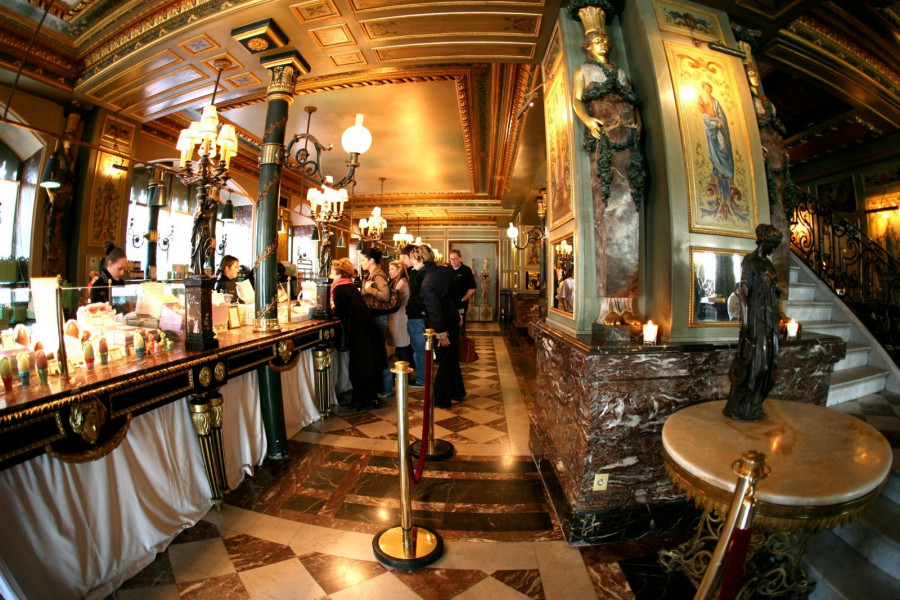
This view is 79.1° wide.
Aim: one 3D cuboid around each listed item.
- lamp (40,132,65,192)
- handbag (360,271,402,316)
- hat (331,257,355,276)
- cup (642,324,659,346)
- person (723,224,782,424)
[{"bbox_3d":[-4.505,-1.710,6.298,0.198,0.812,0.196,7,-4,-34],"label":"lamp"},{"bbox_3d":[-0.906,-0.065,7.272,0.549,0.532,0.305,-10,-8,44],"label":"handbag"},{"bbox_3d":[-1.410,-0.428,7.164,0.205,0.235,0.256,-8,3,25],"label":"hat"},{"bbox_3d":[1.677,0.271,4.607,0.111,0.185,0.234,0,3,17],"label":"cup"},{"bbox_3d":[2.323,0.169,4.216,0.364,1.493,0.238,1,2,29],"label":"person"}]
